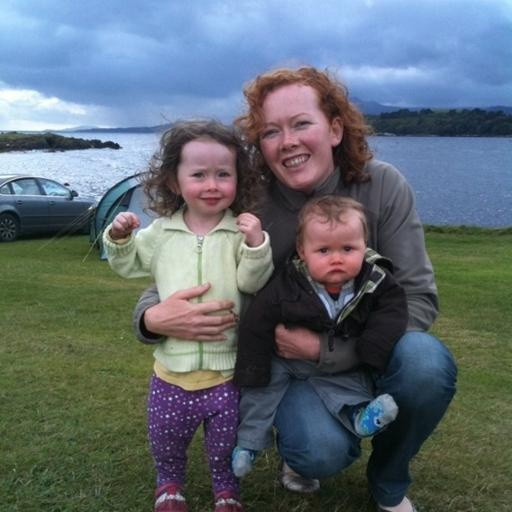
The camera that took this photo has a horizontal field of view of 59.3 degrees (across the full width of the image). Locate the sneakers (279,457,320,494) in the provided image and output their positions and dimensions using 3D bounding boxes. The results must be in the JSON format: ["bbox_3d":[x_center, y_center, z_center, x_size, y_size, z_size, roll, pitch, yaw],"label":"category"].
[{"bbox_3d":[0.191,1.080,2.195,0.092,0.115,0.268,7,-20,-26],"label":"sneakers"}]

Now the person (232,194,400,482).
[{"bbox_3d":[0.293,0.319,1.976,0.763,1.084,0.632,1,8,19],"label":"person"}]
